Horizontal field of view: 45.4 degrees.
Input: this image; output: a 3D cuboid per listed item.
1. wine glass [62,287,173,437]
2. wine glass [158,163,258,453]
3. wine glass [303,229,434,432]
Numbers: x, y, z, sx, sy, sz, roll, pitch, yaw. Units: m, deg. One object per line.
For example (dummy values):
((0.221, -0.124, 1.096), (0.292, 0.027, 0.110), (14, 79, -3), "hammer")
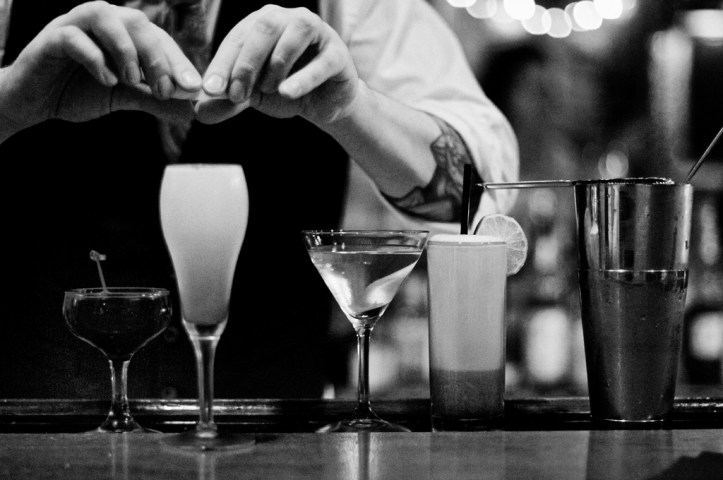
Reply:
((-0.427, 0.207, 1.501), (0.153, 0.232, 0.097), (-1, -3, 20), "wine glass")
((-0.221, 0.093, 1.240), (0.129, 0.399, 0.086), (0, -2, -11), "wine glass")
((0.024, 0.150, 1.459), (0.217, 0.341, 0.309), (1, -3, -25), "wine glass")
